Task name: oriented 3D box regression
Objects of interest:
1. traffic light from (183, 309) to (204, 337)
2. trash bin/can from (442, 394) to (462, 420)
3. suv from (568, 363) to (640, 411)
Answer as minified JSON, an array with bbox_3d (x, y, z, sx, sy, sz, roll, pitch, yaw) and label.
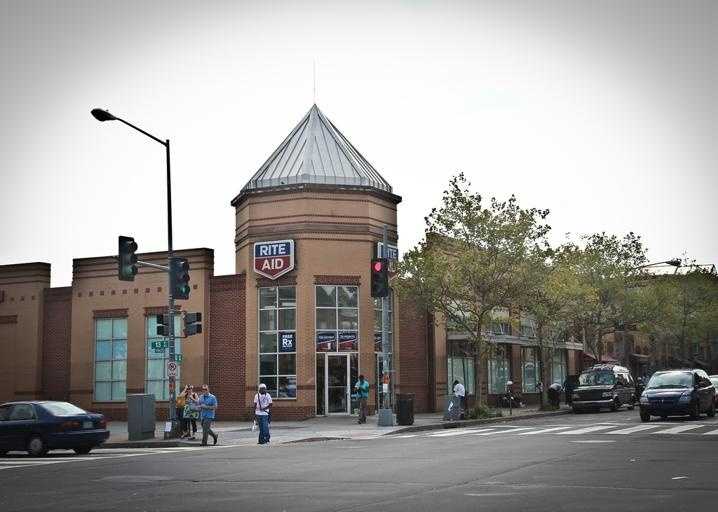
[{"bbox_3d":[-6.537,2.678,33.985,0.622,1.007,2.059,1,-15,-13],"label":"traffic light"},{"bbox_3d":[4.613,7.362,41.688,0.956,1.942,1.006,0,-6,0],"label":"trash bin/can"},{"bbox_3d":[14.662,7.829,51.184,2.449,2.738,5.370,-6,-11,33],"label":"suv"}]
